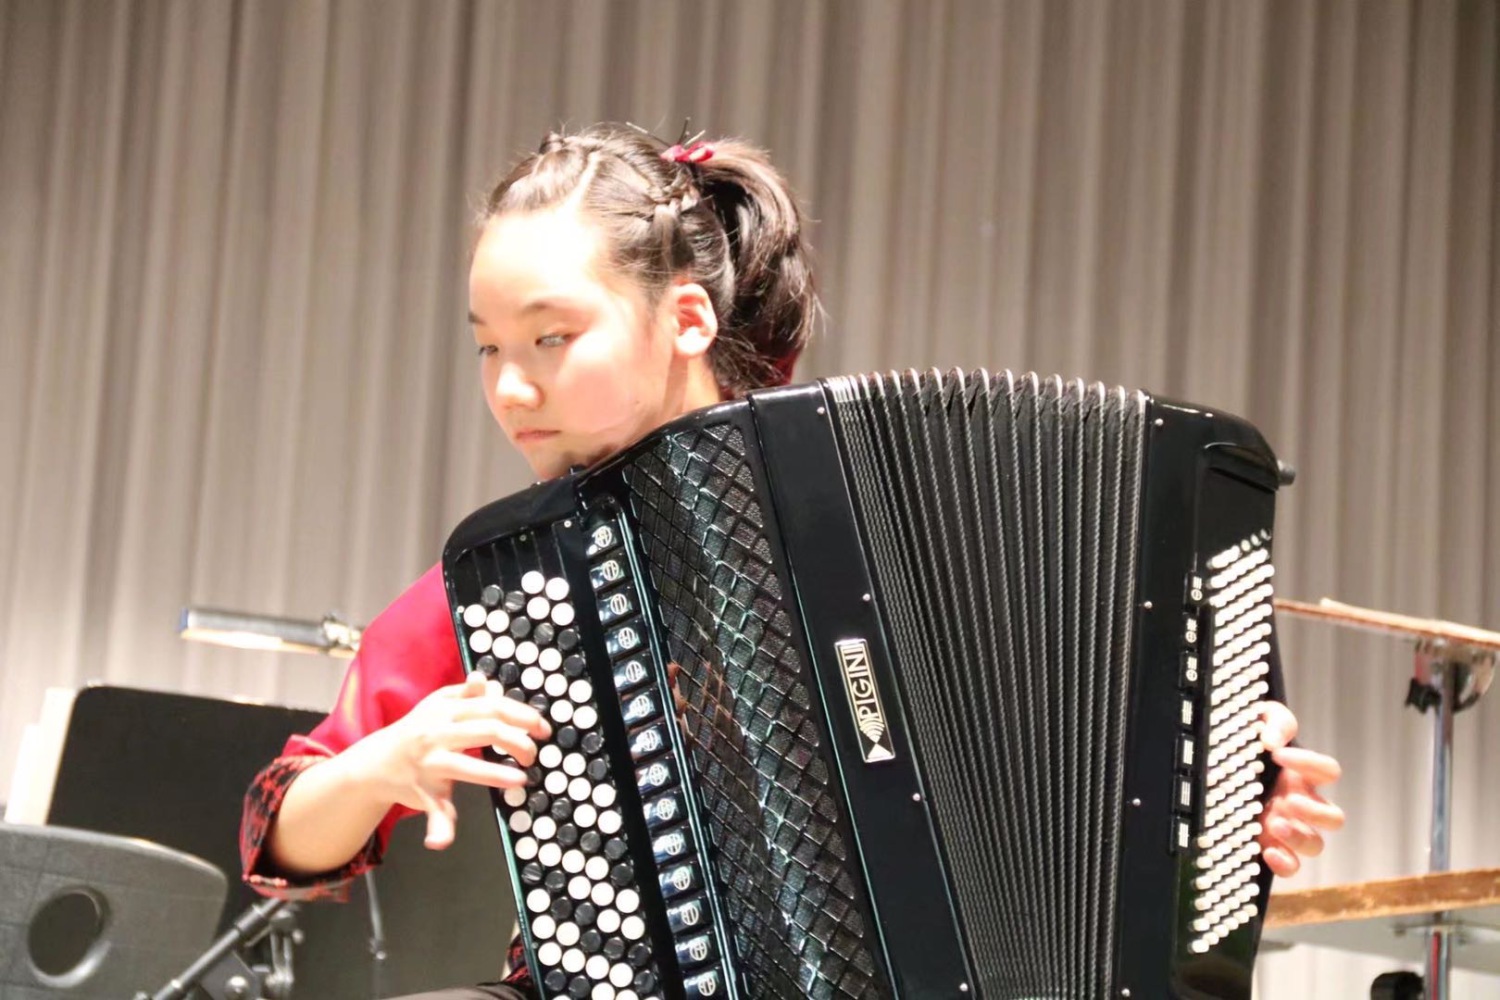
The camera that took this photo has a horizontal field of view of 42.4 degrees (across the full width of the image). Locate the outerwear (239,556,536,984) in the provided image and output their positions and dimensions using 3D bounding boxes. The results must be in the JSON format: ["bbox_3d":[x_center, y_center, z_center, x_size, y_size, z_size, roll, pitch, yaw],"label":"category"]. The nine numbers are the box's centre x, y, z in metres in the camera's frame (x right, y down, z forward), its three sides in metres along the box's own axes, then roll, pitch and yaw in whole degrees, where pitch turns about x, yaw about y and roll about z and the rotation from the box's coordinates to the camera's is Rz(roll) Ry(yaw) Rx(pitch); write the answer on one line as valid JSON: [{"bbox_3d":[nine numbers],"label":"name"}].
[{"bbox_3d":[-0.653,0.488,3.612,0.569,0.720,0.190,4,-3,23],"label":"outerwear"}]
